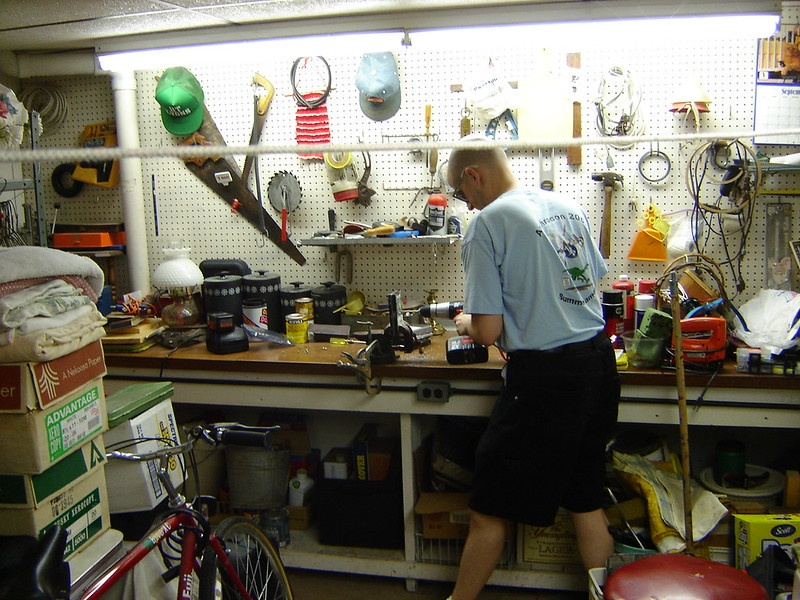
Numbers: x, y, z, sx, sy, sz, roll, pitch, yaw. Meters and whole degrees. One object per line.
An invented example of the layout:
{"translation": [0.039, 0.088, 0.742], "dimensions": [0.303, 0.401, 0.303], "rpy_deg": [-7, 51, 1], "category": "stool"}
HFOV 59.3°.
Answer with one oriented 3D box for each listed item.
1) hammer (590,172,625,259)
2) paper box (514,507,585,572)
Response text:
{"translation": [1.059, -0.441, 3.590], "dimensions": [0.146, 0.428, 0.055], "rpy_deg": [-7, 18, -5], "category": "hammer"}
{"translation": [0.686, 1.075, 3.171], "dimensions": [0.386, 0.394, 0.094], "rpy_deg": [1, 4, 11], "category": "paper box"}
